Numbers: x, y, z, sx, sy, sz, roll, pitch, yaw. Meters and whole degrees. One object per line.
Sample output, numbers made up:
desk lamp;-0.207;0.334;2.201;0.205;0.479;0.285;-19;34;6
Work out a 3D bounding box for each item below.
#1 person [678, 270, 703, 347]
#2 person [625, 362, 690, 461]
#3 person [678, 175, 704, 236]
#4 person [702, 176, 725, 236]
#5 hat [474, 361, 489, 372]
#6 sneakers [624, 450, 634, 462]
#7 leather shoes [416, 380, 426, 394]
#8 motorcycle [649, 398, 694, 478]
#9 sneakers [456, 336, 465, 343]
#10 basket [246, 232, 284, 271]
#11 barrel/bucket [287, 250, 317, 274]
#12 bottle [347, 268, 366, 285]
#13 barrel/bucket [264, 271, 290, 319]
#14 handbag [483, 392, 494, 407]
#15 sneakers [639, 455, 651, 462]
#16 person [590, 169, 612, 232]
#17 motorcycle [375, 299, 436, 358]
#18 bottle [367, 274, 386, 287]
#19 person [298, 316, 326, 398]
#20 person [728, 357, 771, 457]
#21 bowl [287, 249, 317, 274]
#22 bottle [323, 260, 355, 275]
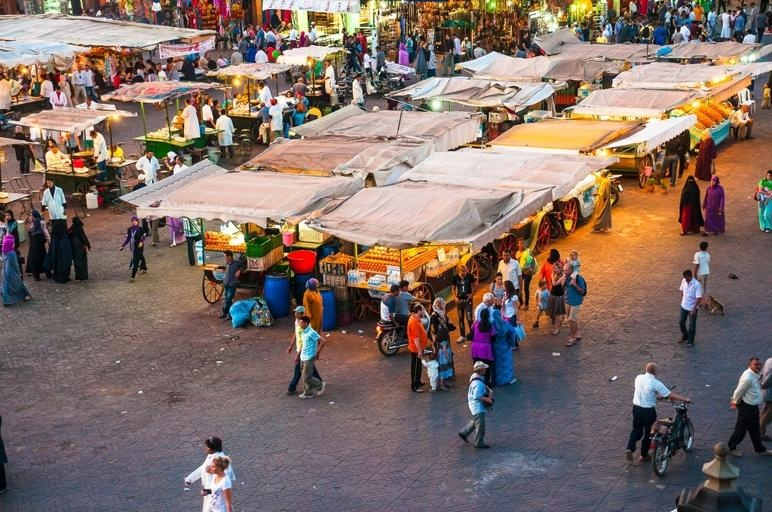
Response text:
person;6.276;1.043;14.628;0.375;1.562;0.465;10;22;36
person;4.387;2.535;11.701;1.292;1.525;1.021;3;0;-10
person;8.676;-1.323;20.007;0.604;1.378;0.460;2;19;18
person;9.271;-1.431;19.894;0.604;1.641;0.487;3;19;21
hat;1.599;1.826;11.848;0.178;0.155;0.289;4;18;23
sneakers;3.957;3.250;11.542;0.116;0.203;0.083;-1;26;22
leather shoes;0.664;2.517;13.728;0.182;0.152;0.313;-3;16;2
motorcycle;4.696;2.886;11.505;0.683;0.791;1.392;-6;18;39
sneakers;1.626;1.823;15.413;0.089;0.080;0.204;2;5;29
basket;-2.806;-0.068;16.671;0.946;0.724;0.441;-17;22;-39
barrel/bucket;-1.940;0.132;16.468;0.601;0.343;0.588;-4;11;1
bottle;-0.664;0.463;16.002;0.349;0.306;0.337;1;5;-29
barrel/bucket;-2.536;0.929;16.448;0.615;1.041;0.282;-8;18;-12
handbag;1.707;2.386;11.740;0.098;0.234;0.246;7;20;31
sneakers;4.260;3.317;11.601;0.238;0.090;0.076;6;-7;-14
person;6.340;-1.528;20.686;0.544;1.500;0.926;1;18;17
motorcycle;0.608;1.456;14.676;1.690;1.015;1.022;-14;-28;30
bottle;-0.196;0.545;15.778;0.316;0.119;0.297;-1;21;1
person;-1.464;1.893;13.532;0.539;1.594;0.497;-6;18;-5
person;5.853;2.474;11.396;0.811;1.616;0.414;-9;19;-17
bowl;-1.947;0.117;16.465;0.596;0.340;0.585;-2;8;0
bottle;-1.096;0.243;16.098;0.740;0.265;0.439;-5;17;-6
